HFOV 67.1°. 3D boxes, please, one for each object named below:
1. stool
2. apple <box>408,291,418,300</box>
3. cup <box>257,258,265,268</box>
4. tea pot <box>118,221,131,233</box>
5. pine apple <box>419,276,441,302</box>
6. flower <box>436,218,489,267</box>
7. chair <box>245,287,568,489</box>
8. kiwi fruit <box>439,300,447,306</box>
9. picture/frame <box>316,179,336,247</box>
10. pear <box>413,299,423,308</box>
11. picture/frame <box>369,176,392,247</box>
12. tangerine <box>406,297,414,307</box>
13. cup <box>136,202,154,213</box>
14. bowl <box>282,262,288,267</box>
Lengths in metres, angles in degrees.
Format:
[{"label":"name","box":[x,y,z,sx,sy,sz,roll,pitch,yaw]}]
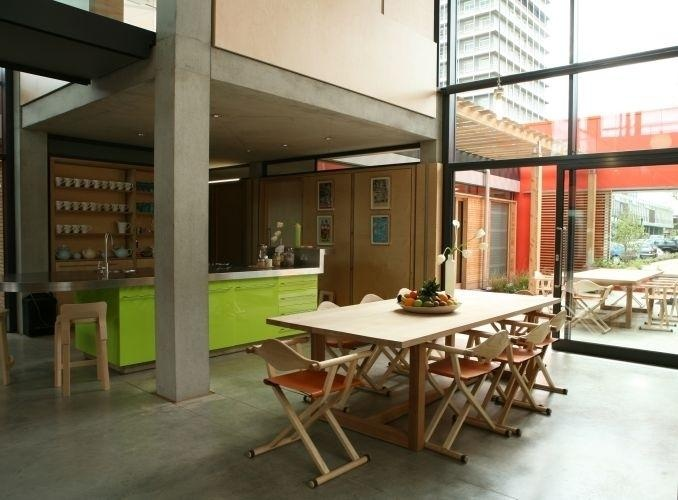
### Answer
[{"label":"stool","box":[-2.879,1.031,5.691,0.604,1.008,0.630,-5,12,-26]},{"label":"apple","box":[0.794,0.494,5.403,0.099,0.072,0.140,10,23,16]},{"label":"cup","box":[-1.147,0.210,7.609,0.122,0.113,0.119,1,0,0]},{"label":"tea pot","box":[-3.720,-0.395,8.896,0.280,0.221,0.176,5,8,40]},{"label":"pine apple","box":[0.937,0.424,5.349,0.221,0.251,0.225,1,-2,33]},{"label":"flower","box":[2.032,-0.127,8.418,0.830,0.625,0.647,-6,3,20]},{"label":"chair","box":[0.632,1.198,4.890,2.996,1.230,1.684,-7,13,-37]},{"label":"kiwi fruit","box":[1.078,0.542,5.228,0.054,0.038,0.069,-3,9,-7]},{"label":"picture/frame","box":[-0.250,-0.679,9.449,0.428,1.182,0.156,11,15,43]},{"label":"pear","box":[0.808,0.541,5.187,0.063,0.060,0.062,5,16,23]},{"label":"picture/frame","box":[0.717,-0.668,8.757,0.461,1.130,0.166,7,13,31]},{"label":"tangerine","box":[0.729,0.533,5.233,0.066,0.064,0.078,-9,-39,28]},{"label":"cup","box":[-3.466,-0.769,9.242,0.248,0.224,0.418,2,5,-17]},{"label":"bowl","box":[-0.829,0.221,7.890,0.080,0.058,0.080,2,3,0]}]
